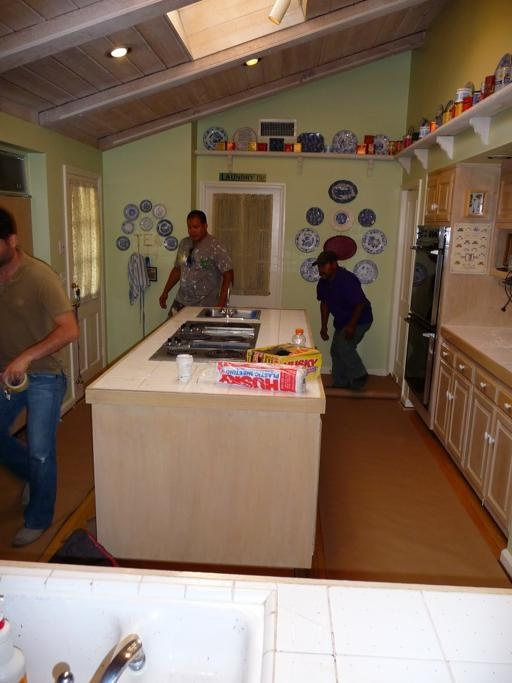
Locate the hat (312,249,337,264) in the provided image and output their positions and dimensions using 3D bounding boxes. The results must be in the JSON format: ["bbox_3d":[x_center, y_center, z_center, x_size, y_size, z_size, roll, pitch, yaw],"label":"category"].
[{"bbox_3d":[0.643,-0.797,4.500,0.175,0.094,0.122,-9,8,-32],"label":"hat"}]

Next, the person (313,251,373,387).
[{"bbox_3d":[0.852,-0.175,4.878,0.560,1.450,0.798,6,12,21],"label":"person"}]

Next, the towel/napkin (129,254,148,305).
[{"bbox_3d":[-1.312,-0.691,5.381,0.227,0.586,0.213,-1,11,-14],"label":"towel/napkin"}]

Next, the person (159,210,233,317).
[{"bbox_3d":[-0.586,-0.439,4.693,0.719,1.584,0.355,6,18,11],"label":"person"}]
